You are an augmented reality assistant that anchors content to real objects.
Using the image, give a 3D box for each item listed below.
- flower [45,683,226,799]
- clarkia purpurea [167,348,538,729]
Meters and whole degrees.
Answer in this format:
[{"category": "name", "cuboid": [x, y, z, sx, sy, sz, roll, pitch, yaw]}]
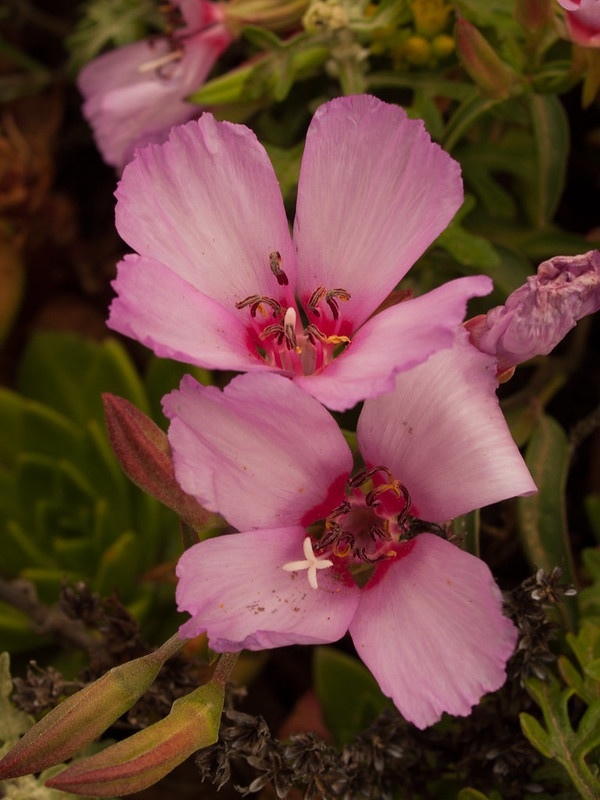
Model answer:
[{"category": "flower", "cuboid": [-0.117, 0.273, 0.654, 0.143, 0.040, 0.042, -33, 74, -3]}, {"category": "clarkia purpurea", "cuboid": [0.060, 0.110, 0.748, 0.310, 0.127, 0.318, -36, 71, -1]}]
